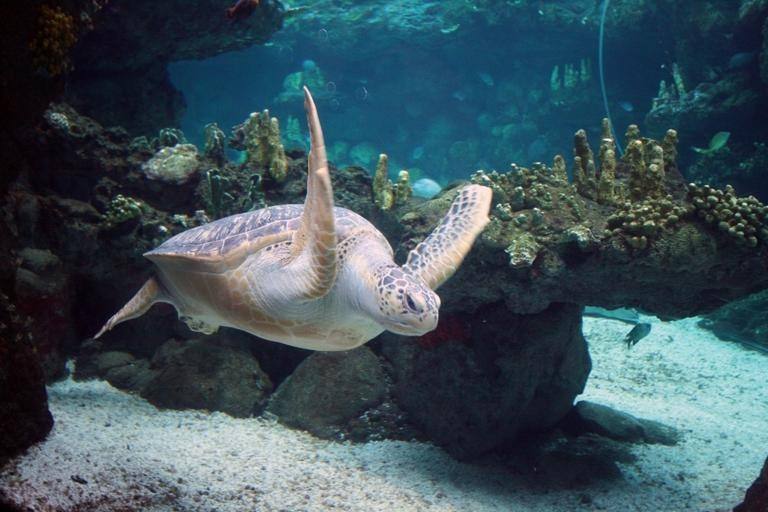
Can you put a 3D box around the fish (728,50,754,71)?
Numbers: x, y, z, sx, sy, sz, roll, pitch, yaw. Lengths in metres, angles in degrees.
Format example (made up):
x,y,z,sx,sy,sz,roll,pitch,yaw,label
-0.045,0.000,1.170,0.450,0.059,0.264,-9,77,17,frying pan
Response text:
x,y,z,sx,sy,sz,roll,pitch,yaw,label
9.374,-5.130,18.144,0.492,0.156,0.387,-28,38,17,fish

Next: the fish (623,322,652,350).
x,y,z,sx,sy,sz,roll,pitch,yaw,label
5.659,1.787,15.393,0.363,0.666,0.240,47,19,-8,fish
